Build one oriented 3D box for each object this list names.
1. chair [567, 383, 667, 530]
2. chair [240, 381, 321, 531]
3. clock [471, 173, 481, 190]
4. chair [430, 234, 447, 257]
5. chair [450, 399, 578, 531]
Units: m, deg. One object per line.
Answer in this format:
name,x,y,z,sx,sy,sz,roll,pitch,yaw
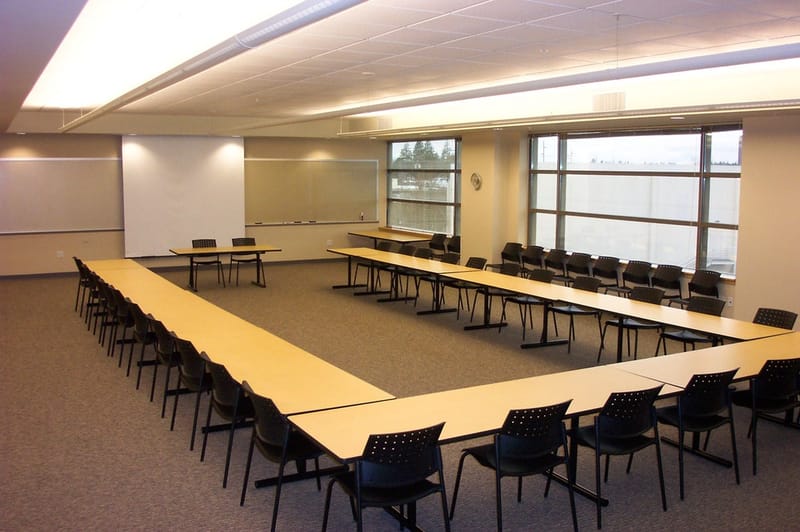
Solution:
chair,2.015,1.611,5.109,0.819,1.140,1.118,5,7,36
chair,-1.064,1.610,4.846,0.484,1.122,0.800,-4,8,-37
clock,1.820,-2.028,13.551,0.065,0.396,0.358,-3,7,-32
chair,1.038,-0.569,14.590,0.540,0.685,0.536,2,1,17
chair,1.027,1.642,4.747,1.053,1.144,0.730,-2,6,-23
